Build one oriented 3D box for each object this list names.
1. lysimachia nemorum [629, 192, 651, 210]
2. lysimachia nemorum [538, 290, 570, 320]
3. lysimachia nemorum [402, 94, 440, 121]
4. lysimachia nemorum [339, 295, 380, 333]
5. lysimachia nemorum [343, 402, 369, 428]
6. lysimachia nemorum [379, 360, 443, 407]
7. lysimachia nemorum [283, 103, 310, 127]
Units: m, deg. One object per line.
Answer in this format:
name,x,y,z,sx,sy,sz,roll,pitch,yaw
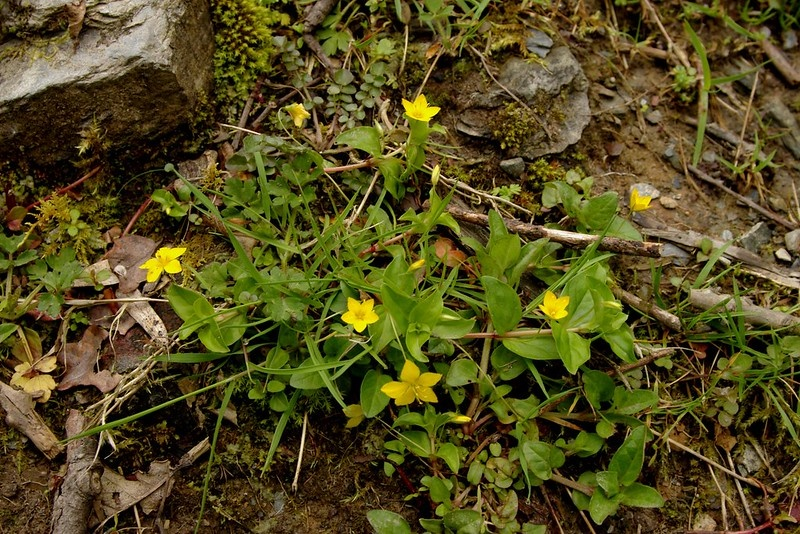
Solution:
lysimachia nemorum,1.535,-0.423,4.480,0.077,0.128,0.126,-22,63,18
lysimachia nemorum,0.913,0.235,4.129,0.150,0.112,0.184,15,78,3
lysimachia nemorum,0.121,-0.968,4.316,0.184,0.125,0.166,-24,62,-20
lysimachia nemorum,-0.226,0.288,3.996,0.208,0.163,0.203,1,57,-6
lysimachia nemorum,-0.277,0.891,4.220,0.133,0.254,0.093,-16,59,-16
lysimachia nemorum,0.067,0.651,3.944,0.103,0.285,0.329,23,18,-36
lysimachia nemorum,-0.646,-0.969,4.455,0.171,0.179,0.081,24,17,23
